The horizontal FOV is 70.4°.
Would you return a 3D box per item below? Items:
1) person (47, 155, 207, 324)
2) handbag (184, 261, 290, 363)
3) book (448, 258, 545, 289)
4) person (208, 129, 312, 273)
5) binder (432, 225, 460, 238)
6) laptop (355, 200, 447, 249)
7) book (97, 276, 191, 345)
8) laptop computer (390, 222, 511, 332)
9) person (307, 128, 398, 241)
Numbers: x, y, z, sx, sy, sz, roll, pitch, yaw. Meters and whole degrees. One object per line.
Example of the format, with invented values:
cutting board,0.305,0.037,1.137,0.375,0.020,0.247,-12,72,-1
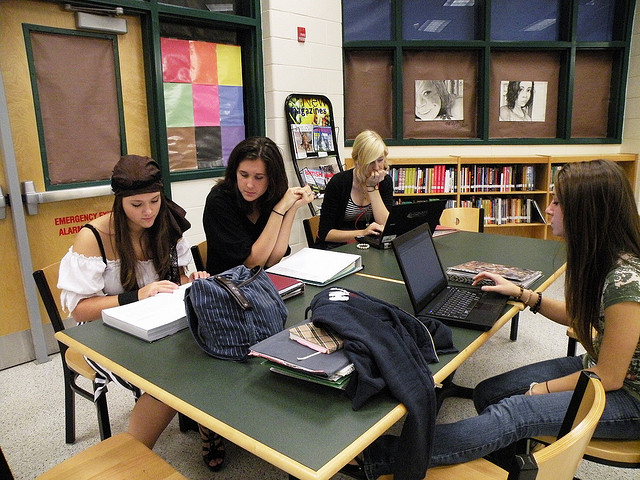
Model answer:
person,-0.868,0.001,2.193,0.490,0.730,0.765,12,16,32
handbag,-0.297,0.249,1.649,0.252,0.275,0.320,8,18,38
book,0.873,0.147,2.196,0.211,0.040,0.225,11,20,40
person,-0.344,-0.194,2.524,0.615,0.744,0.266,-8,15,-17
binder,0.837,-0.067,3.085,0.149,0.038,0.149,-11,18,-42
laptop,0.519,-0.128,2.840,0.446,0.270,0.424,-8,15,-31
book,-0.647,0.214,1.778,0.272,0.067,0.279,13,25,35
laptop computer,0.537,0.136,1.833,0.367,0.341,0.441,5,17,32
person,0.309,-0.342,3.359,0.711,0.821,0.610,0,27,-7
